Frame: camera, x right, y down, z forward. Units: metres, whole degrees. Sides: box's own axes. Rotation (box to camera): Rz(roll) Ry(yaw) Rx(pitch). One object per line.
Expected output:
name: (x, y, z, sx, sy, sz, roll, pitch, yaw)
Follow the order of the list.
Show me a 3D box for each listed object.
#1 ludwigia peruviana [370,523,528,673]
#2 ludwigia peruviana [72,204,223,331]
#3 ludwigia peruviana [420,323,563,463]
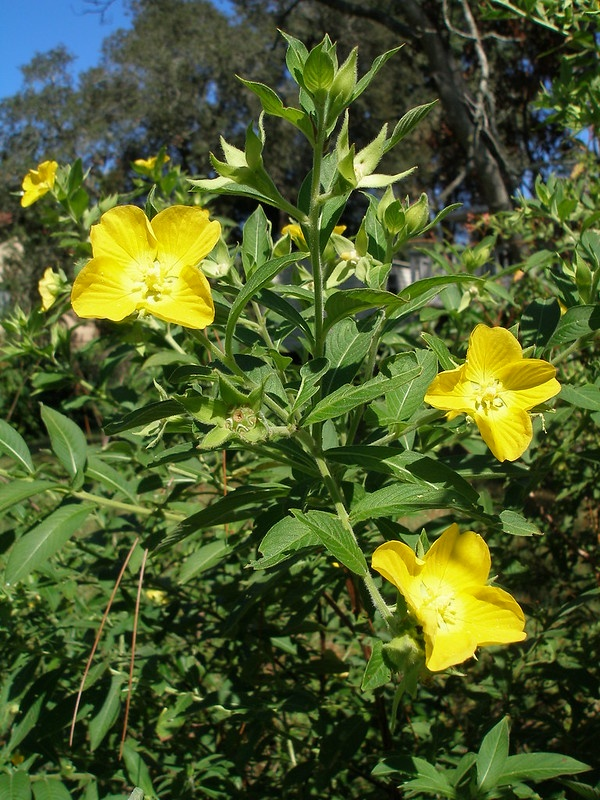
ludwigia peruviana: (0.250, 0.311, 1.179, 0.234, 0.174, 0.189, -13, 4, -23)
ludwigia peruviana: (-0.259, -0.233, 1.255, 0.243, 0.210, 0.152, -10, 5, 16)
ludwigia peruviana: (0.394, -0.044, 1.473, 0.283, 0.086, 0.245, 14, -25, 16)
